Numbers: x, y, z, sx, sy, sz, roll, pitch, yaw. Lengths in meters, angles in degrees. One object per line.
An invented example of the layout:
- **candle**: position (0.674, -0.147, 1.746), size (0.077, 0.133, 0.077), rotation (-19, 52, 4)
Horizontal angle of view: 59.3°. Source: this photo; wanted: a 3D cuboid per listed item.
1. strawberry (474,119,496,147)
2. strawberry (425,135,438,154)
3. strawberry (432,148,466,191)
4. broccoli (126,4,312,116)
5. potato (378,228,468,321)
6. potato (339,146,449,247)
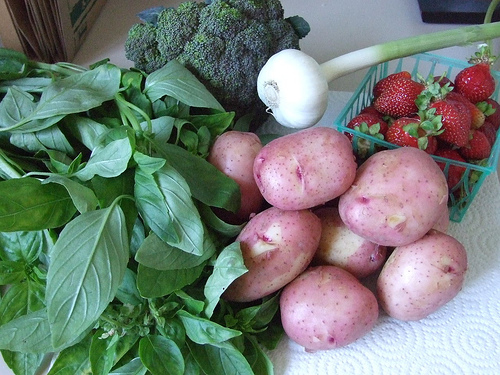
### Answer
- **strawberry**: position (0.475, -0.115, 0.897), size (0.033, 0.052, 0.038), rotation (5, 24, 14)
- **strawberry**: position (0.336, -0.079, 0.813), size (0.018, 0.037, 0.026), rotation (20, 13, 22)
- **strawberry**: position (0.382, -0.034, 0.879), size (0.075, 0.076, 0.100), rotation (-2, 91, -20)
- **broccoli**: position (-0.046, -0.325, 0.841), size (0.290, 0.172, 0.243), rotation (-15, 44, -10)
- **potato**: position (0.273, 0.139, 0.767), size (0.139, 0.136, 0.141), rotation (-1, 25, -21)
- **potato**: position (0.234, 0.024, 0.763), size (0.145, 0.157, 0.169), rotation (0, 24, -23)
